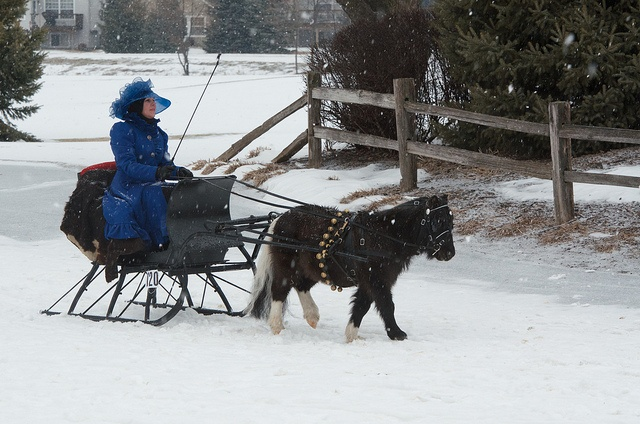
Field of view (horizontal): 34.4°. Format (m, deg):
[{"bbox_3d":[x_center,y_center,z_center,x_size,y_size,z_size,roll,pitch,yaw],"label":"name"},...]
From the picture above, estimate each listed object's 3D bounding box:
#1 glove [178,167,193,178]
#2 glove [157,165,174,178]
[{"bbox_3d":[-2.089,-0.607,16.044,0.206,0.141,0.092,15,6,-11],"label":"glove"},{"bbox_3d":[-2.424,-0.611,16.190,0.287,0.208,0.273,-2,7,-9],"label":"glove"}]
